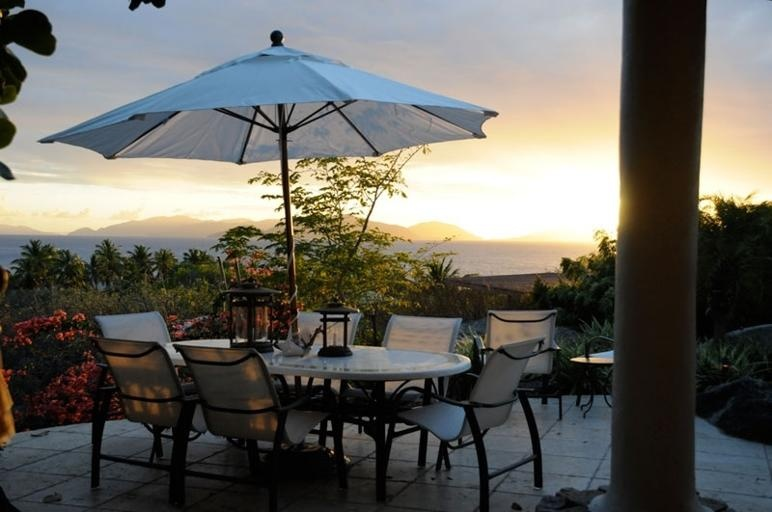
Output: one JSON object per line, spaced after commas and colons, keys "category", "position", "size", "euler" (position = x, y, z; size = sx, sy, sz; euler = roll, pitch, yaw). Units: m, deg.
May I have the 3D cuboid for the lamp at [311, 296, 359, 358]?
{"category": "lamp", "position": [-0.468, 0.683, 5.752], "size": [0.466, 0.635, 0.492], "euler": [1, -6, -6]}

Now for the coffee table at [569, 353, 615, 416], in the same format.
{"category": "coffee table", "position": [2.534, 1.504, 7.628], "size": [0.421, 0.718, 0.789], "euler": [0, 1, 23]}

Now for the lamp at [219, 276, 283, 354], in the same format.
{"category": "lamp", "position": [-1.233, 0.551, 5.764], "size": [0.598, 0.701, 0.604], "euler": [0, -5, -7]}
